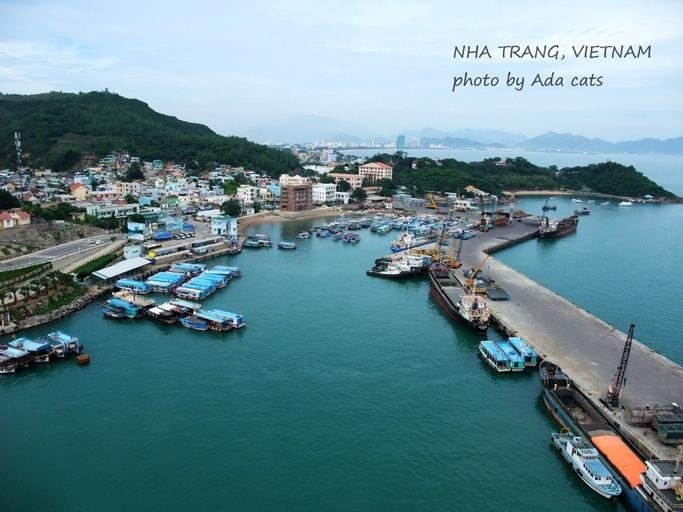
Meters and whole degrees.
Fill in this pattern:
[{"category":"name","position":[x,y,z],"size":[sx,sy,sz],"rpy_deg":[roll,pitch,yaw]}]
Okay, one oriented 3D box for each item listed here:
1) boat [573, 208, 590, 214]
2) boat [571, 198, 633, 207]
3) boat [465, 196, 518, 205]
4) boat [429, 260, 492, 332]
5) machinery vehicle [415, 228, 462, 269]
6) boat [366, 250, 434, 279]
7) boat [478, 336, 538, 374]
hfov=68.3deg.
[{"category":"boat","position":[28.385,-5.239,59.662],"size":[2.333,0.665,1.521],"rpy_deg":[3,16,31]},{"category":"boat","position":[36.728,-7.645,71.289],"size":[7.968,0.403,6.335],"rpy_deg":[7,14,28]},{"category":"boat","position":[19.994,-7.335,67.190],"size":[5.800,0.928,3.563],"rpy_deg":[4,14,22]},{"category":"boat","position":[6.064,2.242,26.724],"size":[1.329,1.352,5.357],"rpy_deg":[-2,16,-6]},{"category":"machinery vehicle","position":[7.244,-0.155,35.971],"size":[1.893,2.019,5.604],"rpy_deg":[22,17,17]},{"category":"boat","position":[3.860,0.700,32.479],"size":[3.487,0.931,2.043],"rpy_deg":[-7,18,-17]},{"category":"boat","position":[6.988,4.170,21.392],"size":[1.742,0.390,1.548],"rpy_deg":[-3,15,-5]}]
